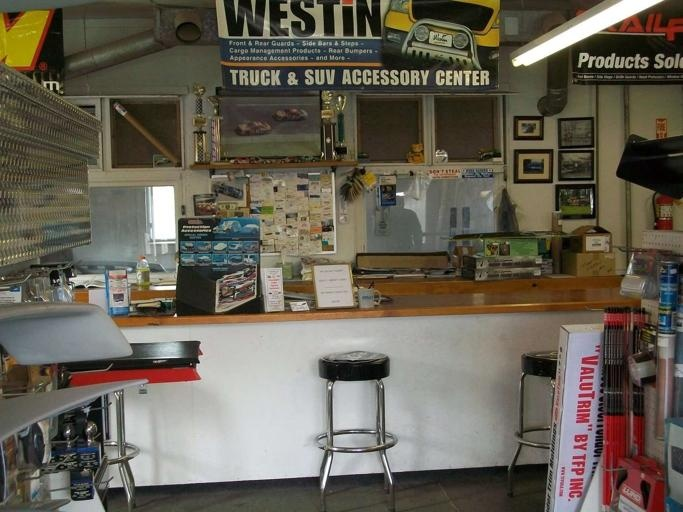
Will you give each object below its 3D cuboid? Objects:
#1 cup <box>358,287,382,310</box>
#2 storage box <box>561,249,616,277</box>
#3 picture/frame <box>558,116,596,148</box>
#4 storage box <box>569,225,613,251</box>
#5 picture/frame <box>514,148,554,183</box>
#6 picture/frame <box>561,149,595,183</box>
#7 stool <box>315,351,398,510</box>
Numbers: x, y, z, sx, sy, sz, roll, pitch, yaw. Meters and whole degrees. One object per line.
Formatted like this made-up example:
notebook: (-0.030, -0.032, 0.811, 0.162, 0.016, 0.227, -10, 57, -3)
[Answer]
cup: (0.198, 0.283, 4.070, 0.169, 0.134, 0.104, 2, 1, -4)
storage box: (2.535, 0.081, 6.335, 0.336, 0.194, 0.326, 0, 1, 0)
picture/frame: (2.591, -1.375, 6.727, 0.367, 0.329, 0.025, 0, 3, -5)
storage box: (2.573, -0.159, 6.278, 0.348, 0.224, 0.373, 1, 1, -5)
picture/frame: (2.105, -1.006, 6.722, 0.407, 0.360, 0.028, -1, 3, -4)
picture/frame: (2.603, -1.008, 6.749, 0.385, 0.305, 0.030, 0, 2, -3)
stool: (0.082, 1.047, 3.732, 0.520, 0.907, 0.530, -1, 3, 4)
